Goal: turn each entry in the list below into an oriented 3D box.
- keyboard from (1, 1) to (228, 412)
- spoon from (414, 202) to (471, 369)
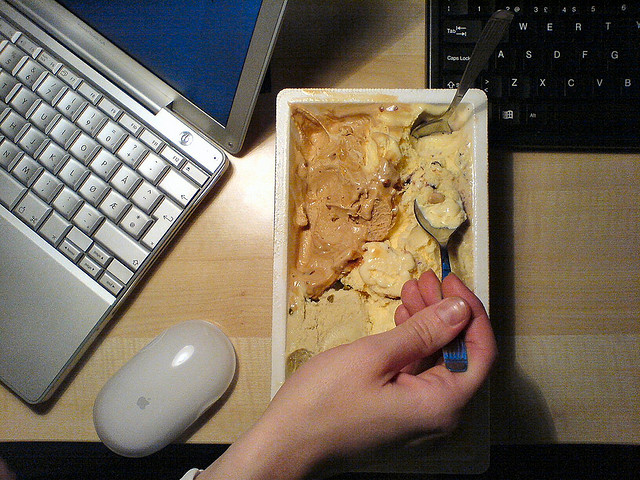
[{"bbox_3d":[-0.328,-0.063,0.891,0.495,0.055,0.437,34,90,1],"label":"keyboard"},{"bbox_3d":[0.149,0.097,0.669,0.045,0.151,0.015,0,43,29],"label":"spoon"}]
